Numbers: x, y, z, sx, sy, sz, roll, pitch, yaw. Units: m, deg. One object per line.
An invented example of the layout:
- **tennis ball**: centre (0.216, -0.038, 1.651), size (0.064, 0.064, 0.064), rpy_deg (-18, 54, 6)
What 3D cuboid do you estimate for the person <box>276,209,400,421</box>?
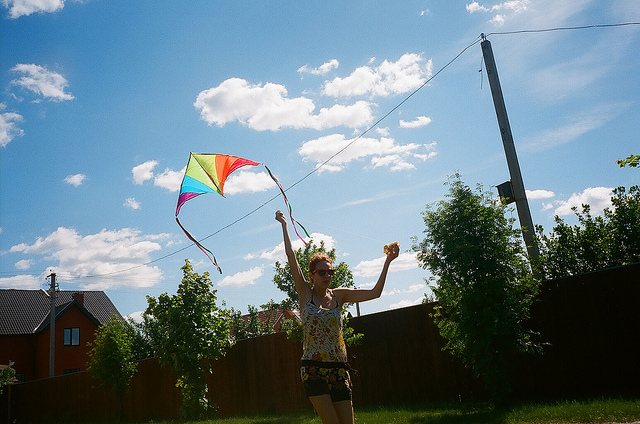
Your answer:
- **person**: centre (0.221, 1.417, 6.988), size (1.315, 3.126, 0.709), rpy_deg (-8, -19, -4)
